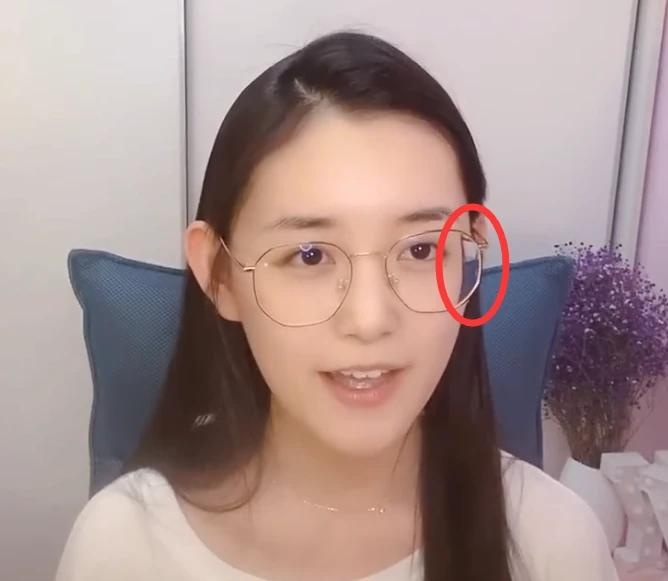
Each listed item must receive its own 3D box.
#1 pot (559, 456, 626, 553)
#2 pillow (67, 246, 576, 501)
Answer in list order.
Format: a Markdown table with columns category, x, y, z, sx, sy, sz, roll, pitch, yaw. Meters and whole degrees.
| category | x | y | z | sx | sy | sz | roll | pitch | yaw |
| --- | --- | --- | --- | --- | --- | --- | --- | --- | --- |
| pot | 0.436 | 0.353 | 1.078 | 0.111 | 0.134 | 0.130 | 5 | 9 | -12 |
| pillow | 0.112 | 0.102 | 1.039 | 0.589 | 0.439 | 0.083 | 9 | 0 | -20 |
